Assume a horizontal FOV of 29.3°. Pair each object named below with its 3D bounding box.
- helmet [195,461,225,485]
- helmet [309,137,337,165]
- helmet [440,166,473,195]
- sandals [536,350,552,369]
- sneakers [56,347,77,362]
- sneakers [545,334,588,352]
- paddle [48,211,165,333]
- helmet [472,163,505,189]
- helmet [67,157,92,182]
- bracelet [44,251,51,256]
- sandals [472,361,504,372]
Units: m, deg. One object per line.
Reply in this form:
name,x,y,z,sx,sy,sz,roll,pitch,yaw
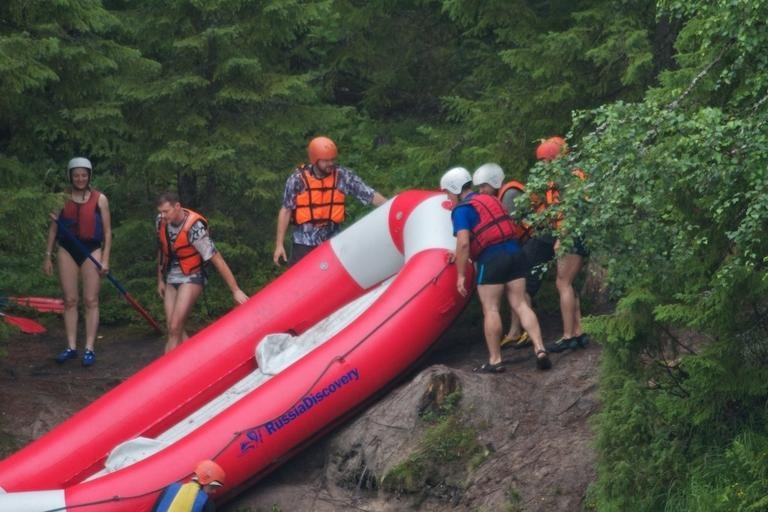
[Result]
helmet,-2.190,2.720,18.282,0.337,0.266,0.257,33,-15,-14
helmet,-0.900,-1.537,21.051,0.395,0.332,0.325,17,29,37
helmet,0.985,-1.045,19.800,0.402,0.327,0.300,-14,23,21
sandals,2.123,1.360,19.361,0.134,0.128,0.302,-11,-38,-2
sneakers,-4.718,1.449,21.636,0.129,0.173,0.366,0,4,17
sneakers,2.480,1.161,19.885,0.570,0.236,0.214,-8,3,5
paddle,-4.398,0.330,22.778,0.171,2.375,0.474,-31,17,44
helmet,1.438,-1.079,20.119,0.395,0.328,0.291,-30,17,6
helmet,-4.474,-1.286,21.448,0.320,0.377,0.394,-2,-8,-18
bracelet,-4.946,-0.033,21.390,0.065,0.054,0.020,-15,11,-26
sandals,1.404,1.453,19.600,0.413,0.172,0.152,2,3,23
